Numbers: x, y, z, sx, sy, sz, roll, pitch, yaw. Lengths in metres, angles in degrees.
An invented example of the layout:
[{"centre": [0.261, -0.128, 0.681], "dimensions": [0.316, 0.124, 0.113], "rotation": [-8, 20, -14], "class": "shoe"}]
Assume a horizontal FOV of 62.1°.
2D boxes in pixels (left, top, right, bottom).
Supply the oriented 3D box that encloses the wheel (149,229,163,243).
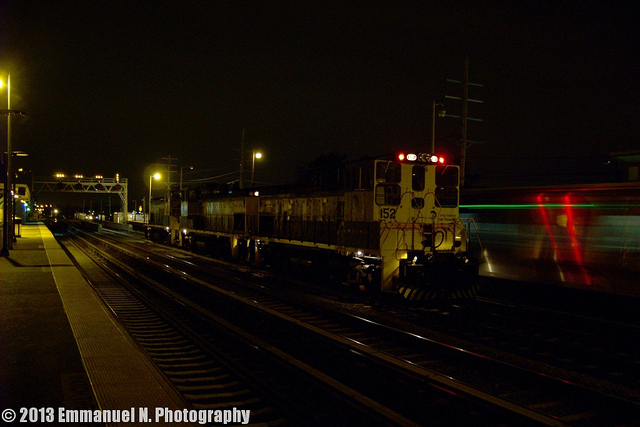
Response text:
[{"centre": [-13.284, 1.773, 43.082], "dimensions": [1.138, 1.070, 1.869], "rotation": [-1, 5, -33], "class": "wheel"}]
